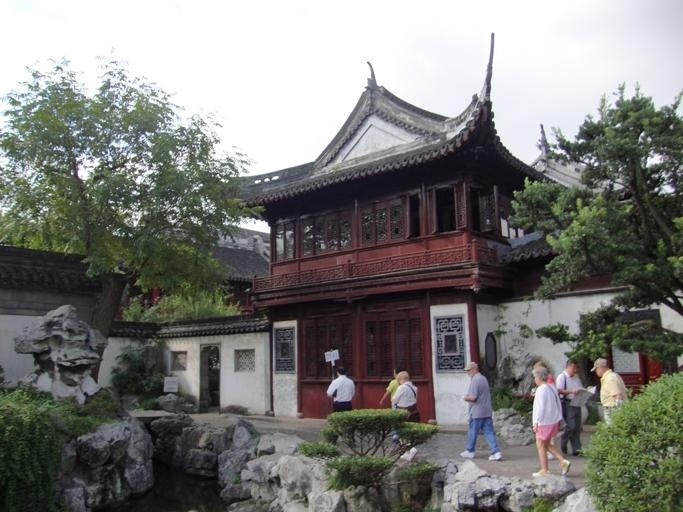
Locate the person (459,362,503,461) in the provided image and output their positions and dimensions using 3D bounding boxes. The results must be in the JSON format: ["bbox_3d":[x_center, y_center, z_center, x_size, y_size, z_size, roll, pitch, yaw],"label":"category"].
[{"bbox_3d":[2.409,2.735,10.225,0.669,1.668,0.804,-4,-11,13],"label":"person"}]

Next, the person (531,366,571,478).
[{"bbox_3d":[3.185,2.525,8.994,0.529,1.645,1.328,-5,-12,18],"label":"person"}]

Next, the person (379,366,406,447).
[{"bbox_3d":[0.925,3.018,11.805,0.349,1.333,0.462,10,-10,22],"label":"person"}]

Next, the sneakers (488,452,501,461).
[{"bbox_3d":[2.659,3.480,10.094,0.227,0.140,0.270,-5,-12,14],"label":"sneakers"}]
